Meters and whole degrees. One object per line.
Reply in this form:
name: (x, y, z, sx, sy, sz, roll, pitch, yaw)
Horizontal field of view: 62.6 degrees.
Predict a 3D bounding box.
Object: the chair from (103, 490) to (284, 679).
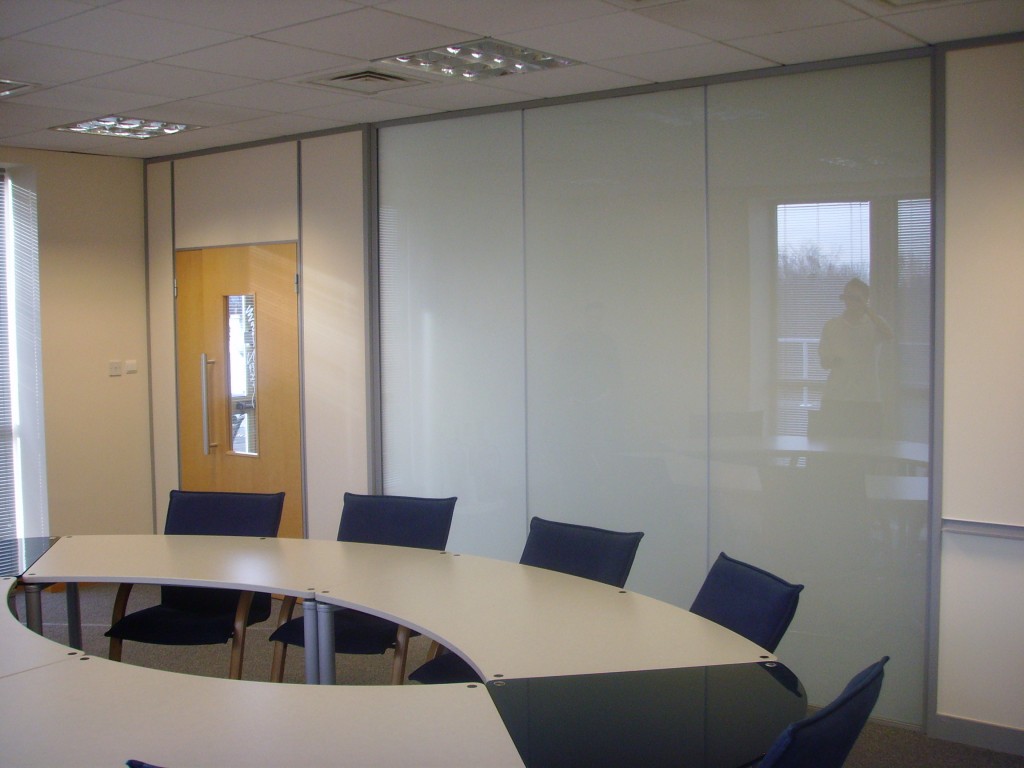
chair: (-1.762, 1.221, 4.746, 0.747, 1.142, 0.884, 1, -3, 9)
